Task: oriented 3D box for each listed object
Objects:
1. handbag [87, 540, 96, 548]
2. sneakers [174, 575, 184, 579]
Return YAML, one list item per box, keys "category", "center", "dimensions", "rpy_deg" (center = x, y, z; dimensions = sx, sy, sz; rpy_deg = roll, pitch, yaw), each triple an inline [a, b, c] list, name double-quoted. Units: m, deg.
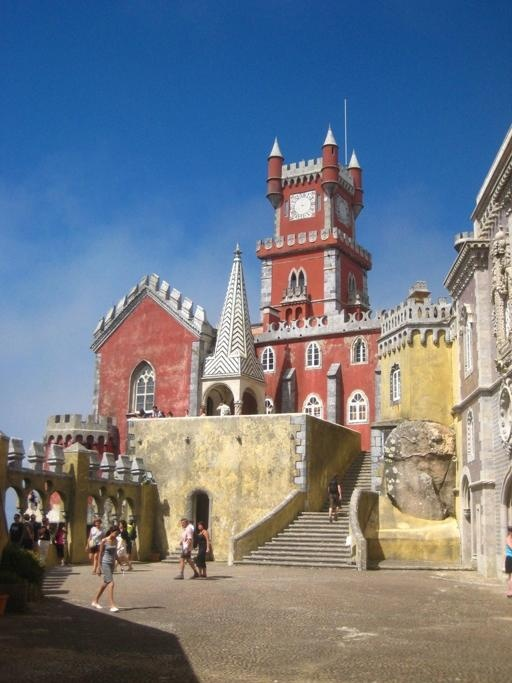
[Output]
- category: "handbag"
  center: [-4.330, 5.346, 17.475]
  dimensions: [0.128, 0.186, 0.153]
  rpy_deg: [1, -5, 16]
- category: "sneakers"
  center: [-1.829, 5.647, 15.910]
  dimensions: [0.221, 0.118, 0.335]
  rpy_deg: [12, -19, -41]
